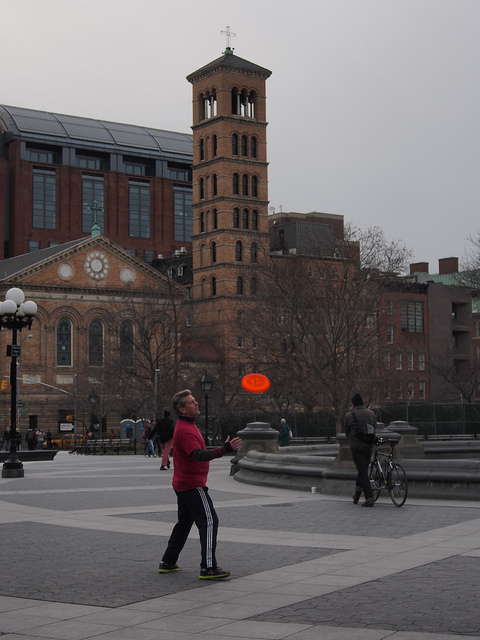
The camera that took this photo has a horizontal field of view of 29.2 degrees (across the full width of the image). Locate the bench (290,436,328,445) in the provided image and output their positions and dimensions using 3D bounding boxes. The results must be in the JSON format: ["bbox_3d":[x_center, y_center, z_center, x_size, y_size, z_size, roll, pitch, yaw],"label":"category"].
[{"bbox_3d":[3.626,6.408,49.321,1.847,0.459,4.592,-2,-4,2],"label":"bench"}]
